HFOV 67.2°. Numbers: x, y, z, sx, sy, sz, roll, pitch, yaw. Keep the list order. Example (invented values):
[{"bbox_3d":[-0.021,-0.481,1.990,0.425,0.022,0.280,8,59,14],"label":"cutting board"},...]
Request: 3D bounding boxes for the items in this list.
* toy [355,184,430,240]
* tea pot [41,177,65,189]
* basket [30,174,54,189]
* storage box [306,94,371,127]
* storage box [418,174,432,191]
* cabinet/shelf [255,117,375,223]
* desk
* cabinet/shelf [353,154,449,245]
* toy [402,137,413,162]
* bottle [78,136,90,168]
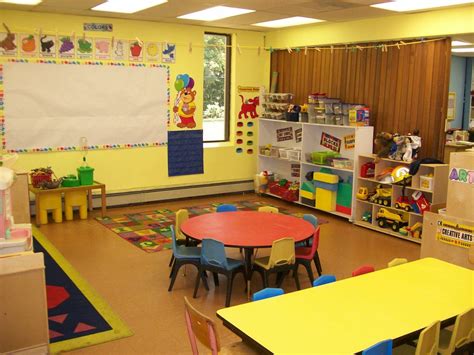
[{"bbox_3d":[2.814,0.622,6.345,0.321,0.554,0.955,-5,13,-34],"label":"toy"},{"bbox_3d":[-3.435,0.104,6.604,0.260,0.094,0.190,-6,13,-16],"label":"tea pot"},{"bbox_3d":[-3.663,0.071,6.655,0.313,0.172,0.299,1,0,9],"label":"basket"},{"bbox_3d":[2.098,-1.379,7.330,0.694,0.421,1.077,-7,12,-42],"label":"storage box"},{"bbox_3d":[3.136,0.080,5.946,0.224,0.211,0.290,0,6,-9],"label":"storage box"},{"bbox_3d":[1.764,-0.313,8.333,0.587,1.961,3.297,-5,12,-33],"label":"cabinet/shelf"},{"bbox_3d":[-3.289,0.163,6.982,1.253,0.593,0.775,-7,14,-35],"label":"desk"},{"bbox_3d":[2.873,0.370,6.139,0.409,1.239,1.506,-4,11,-30],"label":"cabinet/shelf"},{"bbox_3d":[2.994,-0.491,6.193,0.153,0.416,0.159,6,14,17],"label":"toy"},{"bbox_3d":[-3.170,-0.526,7.355,0.164,0.598,0.261,-1,14,-11],"label":"bottle"}]
